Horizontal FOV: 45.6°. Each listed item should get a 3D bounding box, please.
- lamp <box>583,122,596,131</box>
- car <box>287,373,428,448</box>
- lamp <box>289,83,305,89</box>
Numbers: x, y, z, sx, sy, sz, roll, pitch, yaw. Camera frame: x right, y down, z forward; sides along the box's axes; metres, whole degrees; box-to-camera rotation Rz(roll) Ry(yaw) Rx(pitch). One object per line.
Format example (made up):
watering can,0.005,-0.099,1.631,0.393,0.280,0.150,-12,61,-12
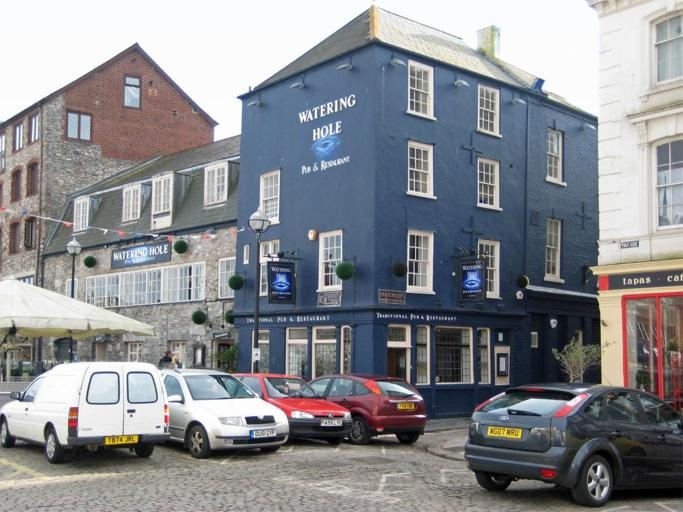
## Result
lamp,10.717,-5.583,35.130,0.529,0.212,0.315,20,-3,-26
car,0.538,4.131,22.424,1.753,1.183,2.983,4,-4,-38
lamp,-1.682,-6.476,30.890,0.213,0.195,0.673,4,12,34
